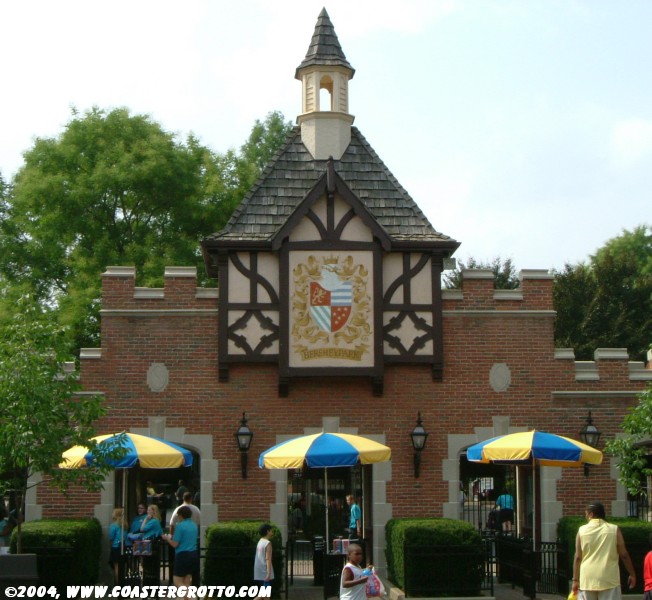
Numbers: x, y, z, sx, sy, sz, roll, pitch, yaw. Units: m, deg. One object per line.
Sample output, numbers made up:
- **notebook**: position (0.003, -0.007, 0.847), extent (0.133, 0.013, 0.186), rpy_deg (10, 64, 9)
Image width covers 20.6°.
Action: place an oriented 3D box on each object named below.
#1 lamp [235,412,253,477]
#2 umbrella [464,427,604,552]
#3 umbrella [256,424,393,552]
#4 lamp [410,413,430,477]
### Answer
- **lamp**: position (-1.955, 3.386, 42.330), extent (0.413, 1.559, 0.458), rpy_deg (1, -11, -3)
- **umbrella**: position (4.717, 4.191, 40.364), extent (2.949, 2.338, 3.146), rpy_deg (0, -12, 4)
- **umbrella**: position (-0.149, 4.001, 39.268), extent (2.782, 2.771, 2.520), rpy_deg (7, -13, -36)
- **lamp**: position (2.240, 3.386, 42.550), extent (0.412, 1.543, 0.440), rpy_deg (0, -11, 3)
